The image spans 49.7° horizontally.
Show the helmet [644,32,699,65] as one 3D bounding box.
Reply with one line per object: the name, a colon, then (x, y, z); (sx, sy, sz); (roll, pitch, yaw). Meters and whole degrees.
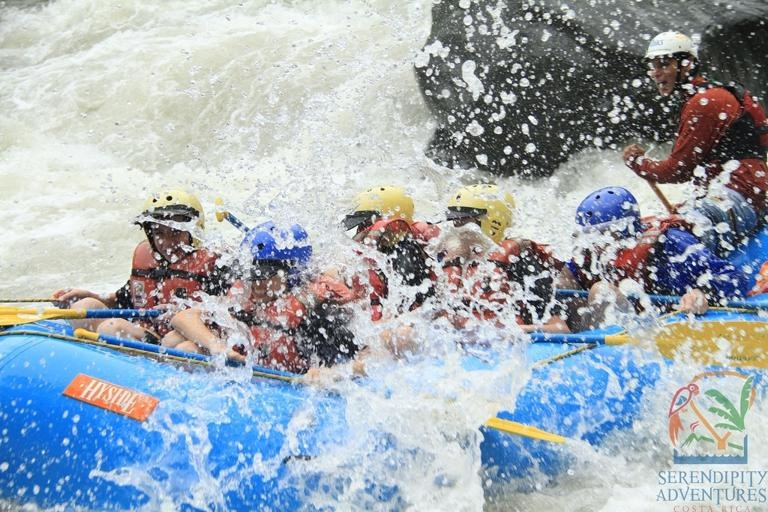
helmet: (3.067, -2.236, 8.903); (0.466, 0.330, 0.247); (0, 92, -19)
